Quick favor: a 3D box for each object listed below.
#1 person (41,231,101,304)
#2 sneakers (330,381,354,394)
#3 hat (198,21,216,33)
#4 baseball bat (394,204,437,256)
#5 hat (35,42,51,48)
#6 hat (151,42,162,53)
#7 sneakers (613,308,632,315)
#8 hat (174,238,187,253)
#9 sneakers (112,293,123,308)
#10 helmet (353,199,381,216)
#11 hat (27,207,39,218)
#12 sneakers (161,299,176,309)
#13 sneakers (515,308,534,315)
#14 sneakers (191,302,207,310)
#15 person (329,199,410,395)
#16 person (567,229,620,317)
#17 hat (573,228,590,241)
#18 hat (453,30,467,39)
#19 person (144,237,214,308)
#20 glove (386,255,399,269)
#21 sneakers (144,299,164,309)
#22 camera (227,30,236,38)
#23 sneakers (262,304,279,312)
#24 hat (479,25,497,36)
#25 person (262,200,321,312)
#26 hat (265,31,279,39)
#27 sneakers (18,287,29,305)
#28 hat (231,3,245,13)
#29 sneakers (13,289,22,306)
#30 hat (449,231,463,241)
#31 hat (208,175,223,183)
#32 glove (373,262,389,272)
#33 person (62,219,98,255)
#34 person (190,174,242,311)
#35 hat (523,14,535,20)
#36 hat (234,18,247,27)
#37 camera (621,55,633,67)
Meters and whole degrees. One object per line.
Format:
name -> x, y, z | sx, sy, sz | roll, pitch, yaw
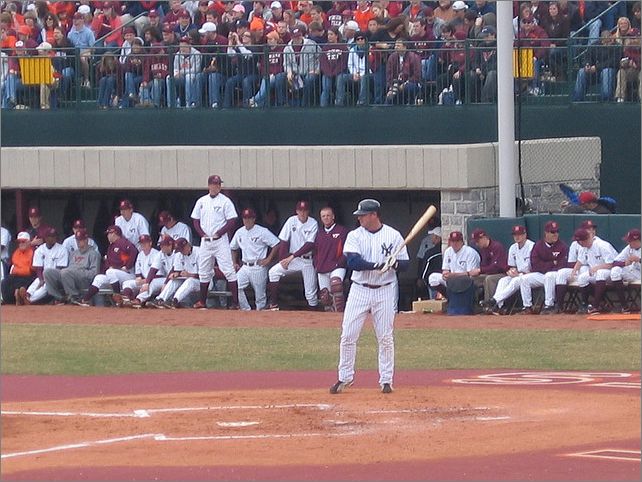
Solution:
person -> -4.450, 0.483, 31.201 | 0.810, 1.479, 0.780 | 16, -20, -32
sneakers -> 0.325, 2.006, 24.306 | 0.342, 0.172, 0.141 | -9, 11, -12
hat -> -2.074, -3.925, 32.077 | 0.280, 0.163, 0.228 | 7, 36, 11
baseball bat -> 1.635, -0.259, 29.825 | 0.154, 1.088, 0.139 | 38, -6, 10
hat -> -5.214, -3.749, 33.036 | 0.250, 0.138, 0.188 | 14, 8, 4
hat -> -2.985, -3.645, 32.297 | 0.181, 0.232, 0.251 | -1, -9, 16
sneakers -> 4.983, 1.121, 28.806 | 0.278, 0.126, 0.107 | 2, 0, 3
hat -> -2.482, 0.033, 30.768 | 0.297, 0.262, 0.190 | 7, 17, 28
sneakers -> -3.544, 1.033, 30.690 | 0.132, 0.254, 0.149 | 5, 26, 2
helmet -> 0.667, -0.496, 24.159 | 0.299, 0.176, 0.230 | -3, 5, -5
hat -> -5.239, -0.570, 32.045 | 0.196, 0.220, 0.380 | -4, 16, -10
sneakers -> -2.616, 1.079, 30.582 | 0.301, 0.140, 0.126 | 15, -27, 34
sneakers -> 3.434, 1.135, 29.321 | 0.255, 0.117, 0.097 | 1, -3, 10
sneakers -> -2.099, 1.095, 30.538 | 0.225, 0.114, 0.118 | 5, 3, 7
person -> 0.696, 0.776, 24.245 | 1.047, 2.690, 0.711 | -1, 14, 0
person -> 4.579, 0.436, 28.927 | 0.787, 1.401, 0.771 | -9, 7, -20
hat -> 4.333, -0.139, 28.851 | 0.256, 0.195, 0.254 | 1, 15, 9
hat -> 2.507, -3.728, 31.250 | 0.194, 0.109, 0.142 | 17, 36, -1
person -> -2.605, 0.489, 31.014 | 0.622, 1.263, 1.298 | 14, 22, 34
glove -> 0.985, 0.260, 24.021 | 0.181, 0.169, 0.071 | -13, 19, -38
sneakers -> -2.890, 1.086, 30.611 | 0.335, 0.161, 0.142 | 9, -9, 2
camera -> -1.618, -3.851, 32.204 | 0.107, 0.055, 0.152 | -6, -3, -23
sneakers -> -0.874, 1.128, 30.637 | 0.260, 0.127, 0.102 | 3, 1, 0
hat -> 2.991, -3.757, 31.066 | 0.239, 0.138, 0.186 | 3, 18, -3
person -> -0.459, 0.273, 30.587 | 0.869, 1.882, 0.772 | -1, 14, -1
hat -> -0.862, -3.777, 31.656 | 0.163, 0.136, 0.146 | -15, -27, 10
sneakers -> -5.277, 0.967, 31.081 | 0.122, 0.416, 0.271 | 0, 1, 12
hat -> -1.488, -4.407, 32.805 | 0.145, 0.114, 0.199 | 10, 4, 44
sneakers -> -5.370, 0.974, 31.125 | 0.113, 0.385, 0.151 | 4, 7, 16
hat -> 2.326, -0.129, 29.796 | 0.235, 0.207, 0.305 | 0, 15, 4
hat -> -1.864, -1.119, 30.522 | 0.138, 0.108, 0.201 | -3, 4, -31
glove -> 0.846, 0.342, 24.001 | 0.197, 0.140, 0.086 | -1, 15, 2
person -> -4.435, -0.102, 32.385 | 0.521, 1.216, 0.379 | 3, -3, 10
person -> -1.835, 0.010, 30.541 | 0.773, 2.304, 0.594 | -2, 14, -4
hat -> 3.786, -4.088, 31.766 | 0.158, 0.101, 0.110 | 5, 7, -2
hat -> -1.451, -4.074, 32.421 | 0.151, 0.174, 0.129 | 4, 30, -37
camera -> 5.559, -3.278, 31.630 | 0.227, 0.225, 0.174 | 3, 15, 14
